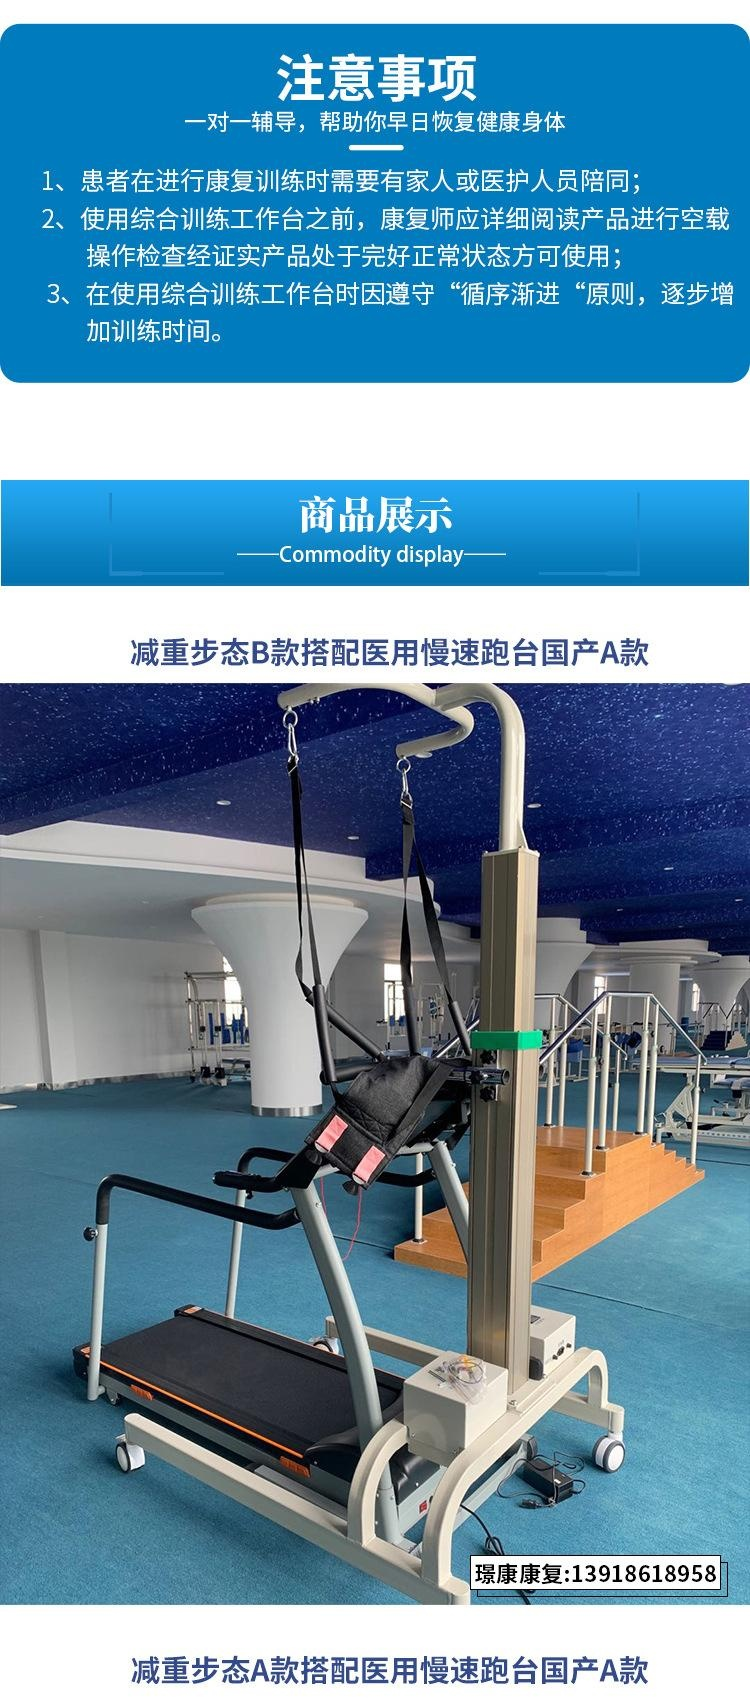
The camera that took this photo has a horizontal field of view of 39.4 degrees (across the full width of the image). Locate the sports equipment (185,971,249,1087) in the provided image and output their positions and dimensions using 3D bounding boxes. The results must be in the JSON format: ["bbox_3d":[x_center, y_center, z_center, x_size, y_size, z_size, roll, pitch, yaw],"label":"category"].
[{"bbox_3d":[-2.590,2.680,16.139,0.749,1.651,1.194,-1,-7,-13],"label":"sports equipment"}]

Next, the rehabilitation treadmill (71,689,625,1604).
[{"bbox_3d":[-0.051,0.663,3.006,1.192,2.303,0.818,6,-1,23],"label":"rehabilitation treadmill"}]
